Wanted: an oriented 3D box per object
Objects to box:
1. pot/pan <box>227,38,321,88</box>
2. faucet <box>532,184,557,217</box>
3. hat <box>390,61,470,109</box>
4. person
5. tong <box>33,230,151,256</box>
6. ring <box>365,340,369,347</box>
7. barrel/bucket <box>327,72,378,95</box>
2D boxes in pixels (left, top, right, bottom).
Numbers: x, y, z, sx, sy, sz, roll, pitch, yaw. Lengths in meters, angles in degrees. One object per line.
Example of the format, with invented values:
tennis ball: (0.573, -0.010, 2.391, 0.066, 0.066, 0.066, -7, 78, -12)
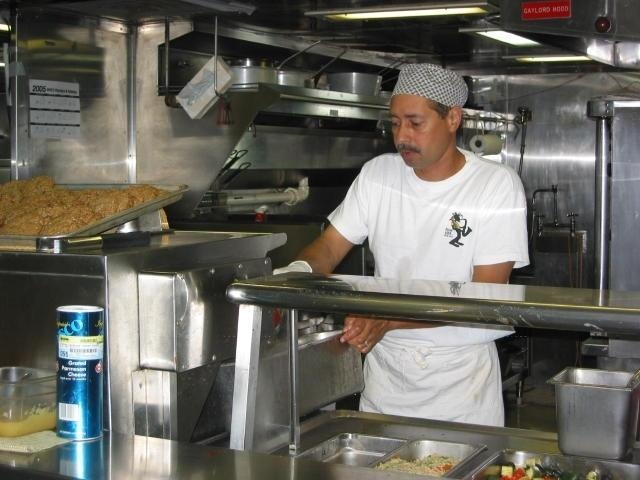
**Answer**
pot/pan: (-0.234, -0.921, 3.470, 0.414, 0.261, 0.256, 2, 3, 16)
faucet: (2.024, -0.400, 5.763, 0.215, 0.188, 0.106, 0, 5, -11)
hat: (0.410, -0.542, 2.345, 0.229, 0.129, 0.166, 10, -13, 8)
person: (0.322, 0.020, 2.243, 0.773, 1.301, 0.620, 2, 5, 16)
tong: (-0.641, 0.008, 1.874, 0.331, 0.050, 0.113, -2, 5, -33)
ring: (0.144, 0.316, 1.951, 0.013, 0.011, 0.003, 1, 1, -12)
barrel/bucket: (0.219, -0.974, 4.011, 0.229, 0.079, 0.196, -2, 4, -32)
